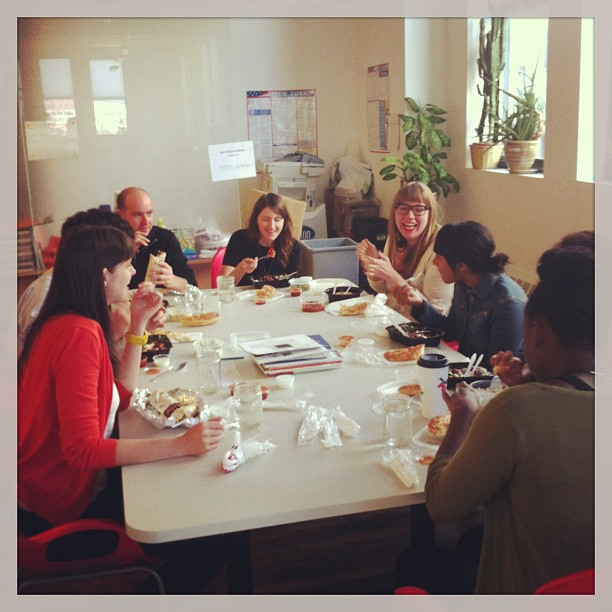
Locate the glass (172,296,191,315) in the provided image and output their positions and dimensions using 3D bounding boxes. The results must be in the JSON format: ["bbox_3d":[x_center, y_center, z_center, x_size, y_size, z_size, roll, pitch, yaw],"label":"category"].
[{"bbox_3d":[-0.391,-0.003,1.769,0.064,0.042,0.061,1,4,-12],"label":"glass"}]

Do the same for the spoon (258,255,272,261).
[{"bbox_3d":[-0.110,-0.130,1.543,0.047,0.012,0.013,-10,0,7],"label":"spoon"}]

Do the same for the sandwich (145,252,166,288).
[{"bbox_3d":[-0.411,-0.103,1.521,0.029,0.099,0.027,36,28,18],"label":"sandwich"}]

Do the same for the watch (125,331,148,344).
[{"bbox_3d":[-0.434,0.079,1.425,0.040,0.016,0.040,-2,2,-36],"label":"watch"}]

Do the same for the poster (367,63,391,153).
[{"bbox_3d":[0.162,-0.424,1.200,0.079,0.182,0.002,-20,30,-28],"label":"poster"}]

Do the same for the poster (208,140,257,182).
[{"bbox_3d":[-0.162,-0.323,1.222,0.093,0.066,0.009,-1,19,5],"label":"poster"}]

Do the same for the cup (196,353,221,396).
[{"bbox_3d":[-0.259,0.177,1.433,0.088,0.125,0.085,1,10,0],"label":"cup"}]

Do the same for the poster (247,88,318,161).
[{"bbox_3d":[-0.051,-0.393,1.185,0.156,0.138,0.010,-2,22,-2],"label":"poster"}]

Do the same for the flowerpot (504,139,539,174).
[{"bbox_3d":[0.457,-0.317,1.181,0.075,0.064,0.070,0,17,7],"label":"flowerpot"}]

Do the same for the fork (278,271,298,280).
[{"bbox_3d":[-0.055,-0.082,1.550,0.028,0.007,0.025,-22,-2,-18],"label":"fork"}]

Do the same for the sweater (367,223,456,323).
[{"bbox_3d":[0.310,-0.101,1.584,0.123,0.191,0.207,-14,28,-27],"label":"sweater"}]

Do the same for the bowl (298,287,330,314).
[{"bbox_3d":[0.027,-0.018,1.707,0.081,0.034,0.076,0,10,0],"label":"bowl"}]

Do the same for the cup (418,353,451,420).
[{"bbox_3d":[0.270,0.169,1.220,0.077,0.112,0.075,2,7,0],"label":"cup"}]

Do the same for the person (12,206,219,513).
[{"bbox_3d":[-0.430,0.130,1.171,0.391,0.661,0.411,-10,15,-20],"label":"person"}]

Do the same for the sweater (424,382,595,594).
[{"bbox_3d":[0.349,0.311,0.938,0.286,0.380,0.142,-2,15,10],"label":"sweater"}]

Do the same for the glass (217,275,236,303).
[{"bbox_3d":[-0.233,-0.054,1.620,0.059,0.079,0.054,7,18,23],"label":"glass"}]

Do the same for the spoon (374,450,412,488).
[{"bbox_3d":[0.156,0.294,1.006,0.014,0.021,0.074,24,5,-22],"label":"spoon"}]

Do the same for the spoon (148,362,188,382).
[{"bbox_3d":[-0.367,0.172,1.479,0.094,0.007,0.030,-19,29,-32],"label":"spoon"}]

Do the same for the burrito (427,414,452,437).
[{"bbox_3d":[0.271,0.243,1.123,0.049,0.016,0.072,2,14,16],"label":"burrito"}]

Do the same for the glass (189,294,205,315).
[{"bbox_3d":[-0.335,-0.007,1.719,0.051,0.083,0.047,-4,26,-16],"label":"glass"}]

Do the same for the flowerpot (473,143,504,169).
[{"bbox_3d":[0.396,-0.329,1.226,0.060,0.040,0.056,-5,22,-9],"label":"flowerpot"}]

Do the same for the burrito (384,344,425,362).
[{"bbox_3d":[0.271,0.121,1.494,0.077,0.025,0.051,-2,9,3],"label":"burrito"}]

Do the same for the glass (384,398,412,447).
[{"bbox_3d":[0.179,0.230,1.099,0.047,0.088,0.062,6,18,37],"label":"glass"}]

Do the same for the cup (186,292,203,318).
[{"bbox_3d":[-0.342,-0.005,1.718,0.057,0.093,0.053,1,31,-1],"label":"cup"}]

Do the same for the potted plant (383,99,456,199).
[{"bbox_3d":[0.271,-0.345,1.245,0.156,0.216,0.073,-12,16,-26],"label":"potted plant"}]

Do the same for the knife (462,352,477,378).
[{"bbox_3d":[0.409,0.149,1.390,0.011,0.057,0.008,23,13,-25],"label":"knife"}]

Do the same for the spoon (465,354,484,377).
[{"bbox_3d":[0.415,0.148,1.370,0.010,0.012,0.085,36,40,4],"label":"spoon"}]

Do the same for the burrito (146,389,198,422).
[{"bbox_3d":[-0.299,0.216,1.237,0.071,0.043,0.127,-14,16,-36],"label":"burrito"}]

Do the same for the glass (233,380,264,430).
[{"bbox_3d":[-0.126,0.204,1.232,0.057,0.083,0.151,-6,13,-3],"label":"glass"}]
